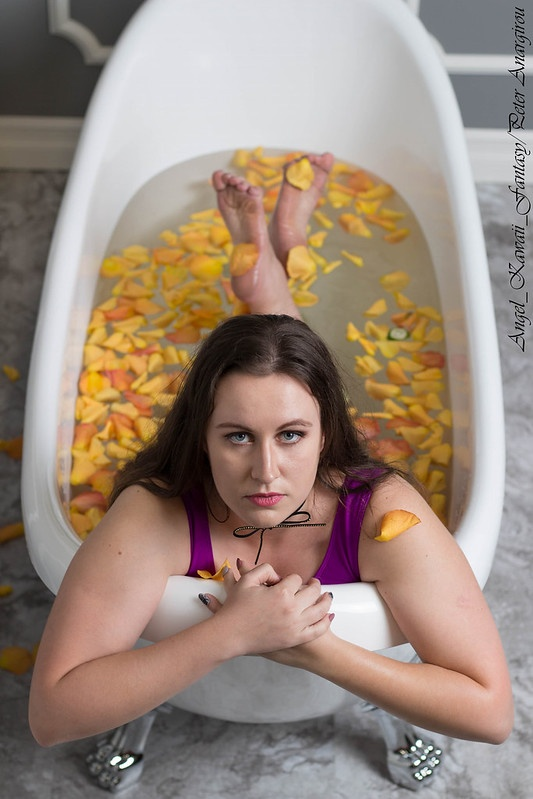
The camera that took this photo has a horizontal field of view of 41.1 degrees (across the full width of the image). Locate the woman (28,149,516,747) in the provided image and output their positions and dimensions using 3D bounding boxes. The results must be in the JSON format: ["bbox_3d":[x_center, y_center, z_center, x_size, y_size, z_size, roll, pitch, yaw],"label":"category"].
[{"bbox_3d":[0.001,-0.005,0.764,0.438,0.236,0.633,1,48,-1],"label":"woman"}]

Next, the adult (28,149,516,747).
[{"bbox_3d":[0.005,-0.005,0.764,0.438,0.236,0.633,1,48,-1],"label":"adult"}]
